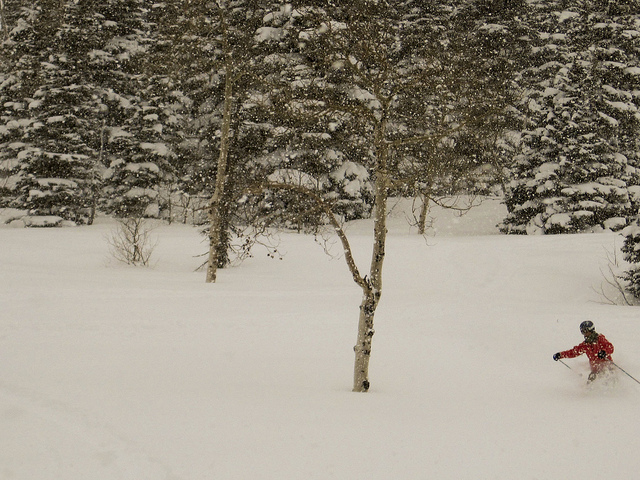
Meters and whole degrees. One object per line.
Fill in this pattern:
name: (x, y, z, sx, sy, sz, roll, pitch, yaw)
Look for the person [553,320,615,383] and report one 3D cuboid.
person: (8.368, 3.630, 28.705, 0.758, 1.713, 1.191, -16, -12, -25)
